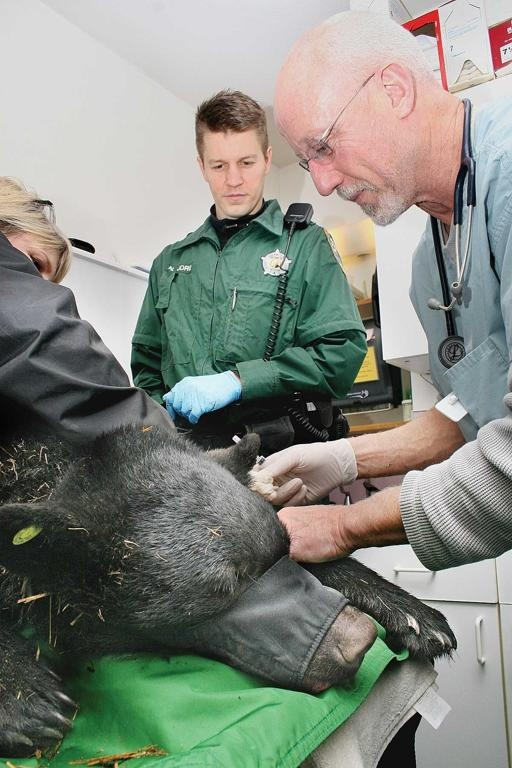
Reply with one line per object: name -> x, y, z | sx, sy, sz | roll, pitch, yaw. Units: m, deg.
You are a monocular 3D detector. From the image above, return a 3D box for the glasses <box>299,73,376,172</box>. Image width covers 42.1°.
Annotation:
glasses -> 0.175, -0.588, 1.475 | 0.050, 0.166, 0.162 | 36, -3, -16

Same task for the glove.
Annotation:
glove -> -0.115, 0.021, 1.463 | 0.143, 0.048, 0.106 | -33, 17, -37
